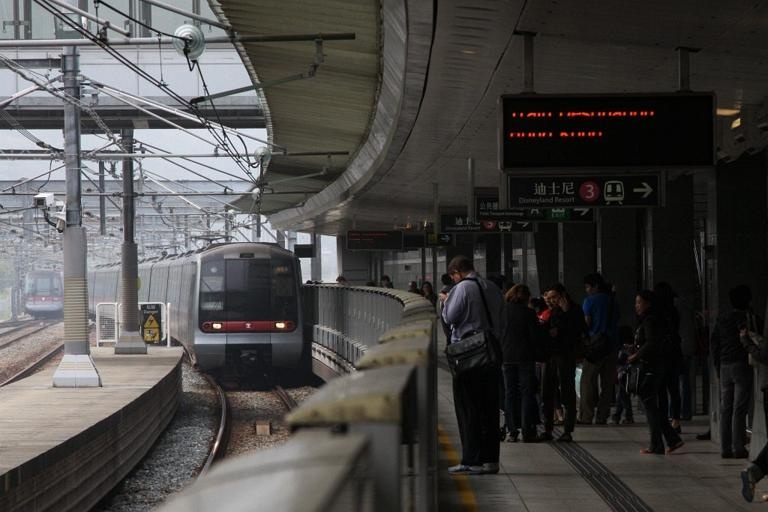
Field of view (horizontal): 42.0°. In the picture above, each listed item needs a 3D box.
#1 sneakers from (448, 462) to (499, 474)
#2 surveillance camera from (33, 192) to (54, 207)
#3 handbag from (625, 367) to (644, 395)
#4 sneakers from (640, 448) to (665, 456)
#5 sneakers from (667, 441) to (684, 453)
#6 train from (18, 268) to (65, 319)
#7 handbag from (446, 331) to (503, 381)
[{"bbox_3d":[1.182,2.809,13.317,0.653,0.250,0.211,2,-3,3],"label":"sneakers"},{"bbox_3d":[-6.504,-1.057,19.118,0.261,0.226,0.359,-1,-6,13],"label":"surveillance camera"},{"bbox_3d":[3.566,1.785,14.283,0.192,0.378,0.414,0,0,-10],"label":"handbag"},{"bbox_3d":[3.843,2.818,14.384,0.353,0.127,0.122,4,-9,8],"label":"sneakers"},{"bbox_3d":[4.163,2.763,14.366,0.147,0.124,0.353,23,-27,-4],"label":"sneakers"},{"bbox_3d":[-22.283,2.512,65.740,2.527,3.074,1.980,-1,0,44],"label":"train"},{"bbox_3d":[1.173,1.200,13.176,0.807,0.532,0.562,-19,-8,15],"label":"handbag"}]
